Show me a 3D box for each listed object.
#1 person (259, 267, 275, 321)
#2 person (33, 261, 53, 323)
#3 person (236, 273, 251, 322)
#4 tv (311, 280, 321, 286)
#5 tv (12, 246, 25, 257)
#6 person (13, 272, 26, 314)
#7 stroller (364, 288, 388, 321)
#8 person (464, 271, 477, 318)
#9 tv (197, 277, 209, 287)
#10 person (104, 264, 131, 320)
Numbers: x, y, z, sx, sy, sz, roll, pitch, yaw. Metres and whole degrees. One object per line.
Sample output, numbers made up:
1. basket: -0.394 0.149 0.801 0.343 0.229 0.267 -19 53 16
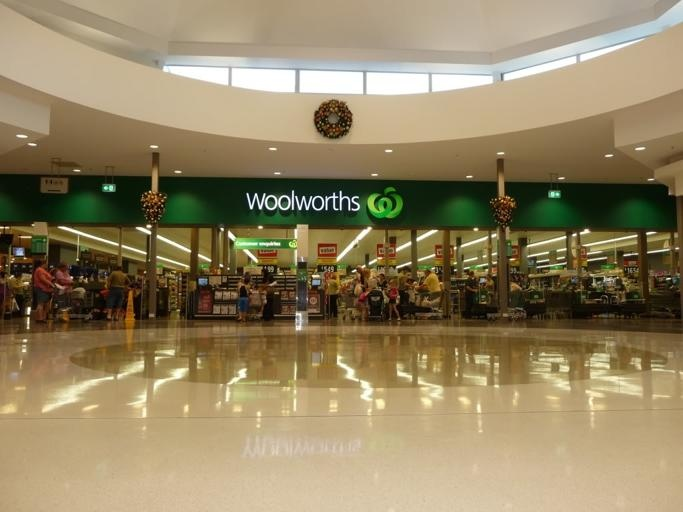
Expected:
1. person: -2.069 1.026 15.283 0.385 1.556 0.984 1 -7 -9
2. person: -7.256 0.862 13.008 0.421 1.450 1.789 3 -8 -28
3. person: -2.564 1.099 14.169 0.256 1.189 0.877 1 -7 -8
4. tv: -0.704 0.743 15.115 0.281 0.222 0.152 1 -2 -4
5. tv: -9.383 -0.150 15.497 0.275 0.280 0.668 3 -8 -26
6. person: -9.000 0.990 14.979 0.307 1.263 2.594 4 -8 -30
7. stroller: 0.887 1.183 13.770 0.463 0.819 0.770 0 3 4
8. person: 3.963 1.158 16.297 0.416 1.412 1.484 -2 -7 13
9. tv: -3.911 0.707 15.147 0.351 0.341 0.190 1 0 -2
10. person: -6.101 0.945 14.602 0.525 1.564 1.982 2 -8 -22
